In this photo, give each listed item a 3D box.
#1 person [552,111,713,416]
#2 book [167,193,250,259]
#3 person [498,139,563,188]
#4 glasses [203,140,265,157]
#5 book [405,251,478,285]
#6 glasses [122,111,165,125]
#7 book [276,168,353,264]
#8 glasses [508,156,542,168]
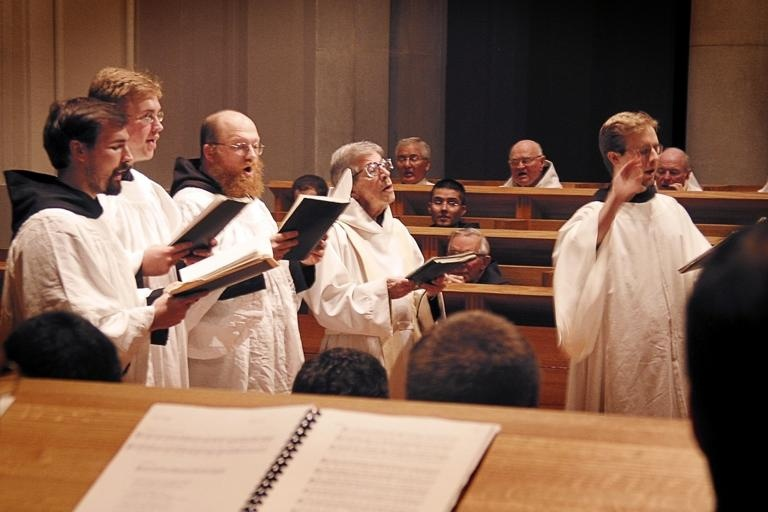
[{"bbox_3d":[1.383,0.015,4.091,0.815,1.662,0.728,2,10,22],"label":"person"},{"bbox_3d":[-0.755,-0.141,3.120,0.068,0.266,0.281,43,24,-1],"label":"book"},{"bbox_3d":[1.449,-0.847,7.271,0.740,0.626,0.447,-3,7,25],"label":"person"},{"bbox_3d":[-0.842,-0.607,4.045,0.167,0.047,0.158,1,1,22],"label":"glasses"},{"bbox_3d":[0.319,0.072,4.011,0.320,0.052,0.553,-18,-7,19],"label":"book"},{"bbox_3d":[-1.301,-0.730,3.818,0.157,0.044,0.146,-1,10,14],"label":"glasses"},{"bbox_3d":[-0.356,-0.133,3.398,0.296,0.325,0.374,-5,9,-18],"label":"book"},{"bbox_3d":[1.418,-0.936,7.160,0.328,0.143,0.215,-1,8,8],"label":"glasses"}]
